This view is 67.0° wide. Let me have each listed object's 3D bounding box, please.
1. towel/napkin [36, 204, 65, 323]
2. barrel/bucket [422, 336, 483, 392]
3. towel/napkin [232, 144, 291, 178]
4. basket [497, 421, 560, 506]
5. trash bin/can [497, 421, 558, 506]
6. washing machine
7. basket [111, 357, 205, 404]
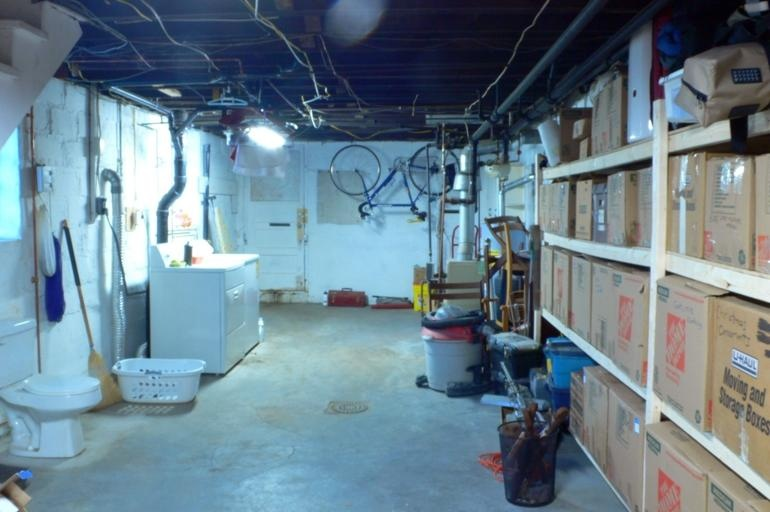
[{"bbox_3d":[-3.030,0.081,5.262,0.152,1.090,0.242,-2,11,-9],"label":"towel/napkin"},{"bbox_3d":[0.660,1.031,5.772,0.572,0.492,0.529,0,0,0],"label":"barrel/bucket"},{"bbox_3d":[-1.734,-1.267,7.949,0.563,0.291,0.450,2,4,24],"label":"towel/napkin"},{"bbox_3d":[1.032,1.450,4.181,0.491,0.508,0.487,-1,-1,20],"label":"basket"},{"bbox_3d":[0.974,1.459,4.201,0.491,0.511,0.482,-1,-1,9],"label":"trash bin/can"},{"bbox_3d":[-2.108,0.526,6.684,0.930,1.379,1.172,1,10,8],"label":"washing machine"},{"bbox_3d":[-2.215,1.220,5.708,0.897,0.335,0.415,2,10,12],"label":"basket"}]
